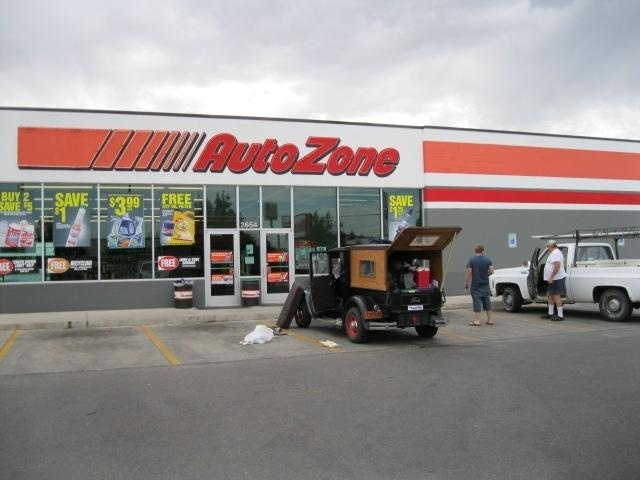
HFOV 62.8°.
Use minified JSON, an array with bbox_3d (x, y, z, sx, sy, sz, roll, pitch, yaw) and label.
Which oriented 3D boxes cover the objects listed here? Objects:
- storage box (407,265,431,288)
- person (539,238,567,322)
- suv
[{"bbox_3d":[2.289,0.851,12.183,0.345,0.639,0.688,1,-5,-13],"label":"storage box"},{"bbox_3d":[6.515,1.109,14.593,0.586,2.193,0.931,0,1,24],"label":"person"},{"bbox_3d":[1.214,1.010,12.494,3.940,2.600,1.898,0,1,41],"label":"suv"}]
